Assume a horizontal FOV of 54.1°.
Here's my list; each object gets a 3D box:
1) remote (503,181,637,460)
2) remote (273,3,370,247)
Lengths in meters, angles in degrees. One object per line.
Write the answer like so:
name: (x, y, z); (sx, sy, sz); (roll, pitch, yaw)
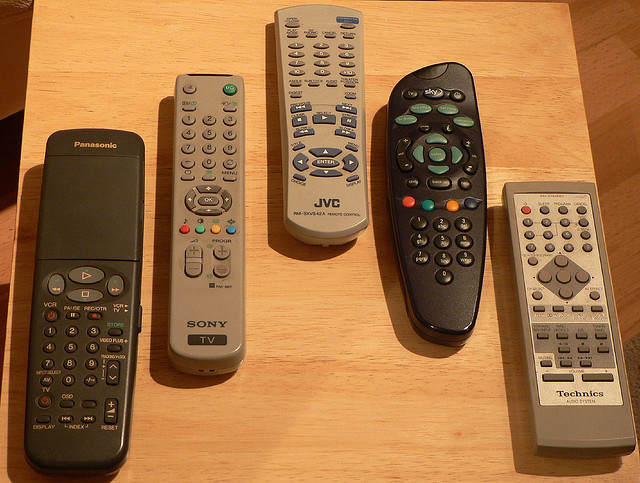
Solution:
remote: (0.224, 0.066, 0.568); (0.109, 0.048, 0.234); (2, 71, 2)
remote: (0.008, -0.121, 0.643); (0.108, 0.052, 0.229); (-2, 72, -2)
